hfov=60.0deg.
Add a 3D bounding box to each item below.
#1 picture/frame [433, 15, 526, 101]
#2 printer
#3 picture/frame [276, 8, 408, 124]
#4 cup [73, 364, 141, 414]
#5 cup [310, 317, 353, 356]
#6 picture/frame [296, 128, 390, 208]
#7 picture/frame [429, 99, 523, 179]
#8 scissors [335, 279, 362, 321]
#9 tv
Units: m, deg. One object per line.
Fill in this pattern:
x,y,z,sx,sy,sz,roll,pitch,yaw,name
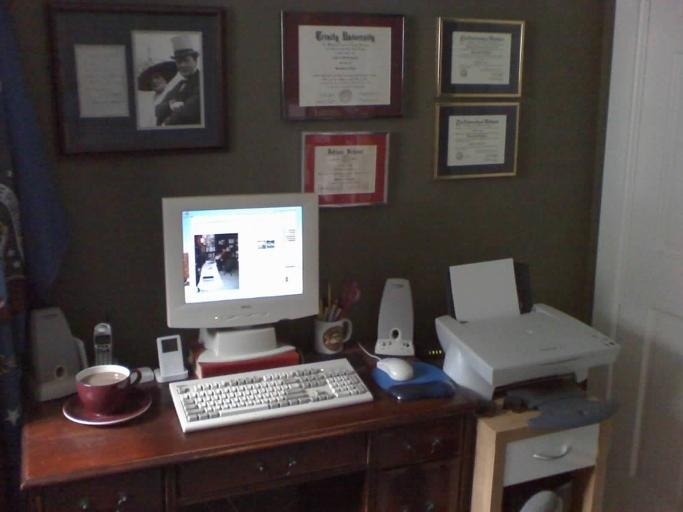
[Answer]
0.513,-0.771,2.264,0.326,0.270,0.027,-1,12,-15,picture/frame
0.585,0.279,2.123,0.473,0.430,0.647,-8,15,-17,printer
-0.017,-0.699,2.127,0.404,0.336,0.044,-2,8,-18,picture/frame
-0.700,0.377,1.775,0.165,0.087,0.130,-6,9,-44,cup
-0.036,0.298,2.243,0.154,0.138,0.097,-7,12,-33,cup
-0.009,-0.337,2.183,0.298,0.267,0.039,-2,10,-17,picture/frame
0.512,-0.470,2.318,0.304,0.269,0.011,-2,8,-17,picture/frame
0.033,0.168,2.245,0.078,0.139,0.036,29,4,32,scissors
-0.344,0.057,1.973,0.513,0.529,0.278,-3,9,-20,tv
